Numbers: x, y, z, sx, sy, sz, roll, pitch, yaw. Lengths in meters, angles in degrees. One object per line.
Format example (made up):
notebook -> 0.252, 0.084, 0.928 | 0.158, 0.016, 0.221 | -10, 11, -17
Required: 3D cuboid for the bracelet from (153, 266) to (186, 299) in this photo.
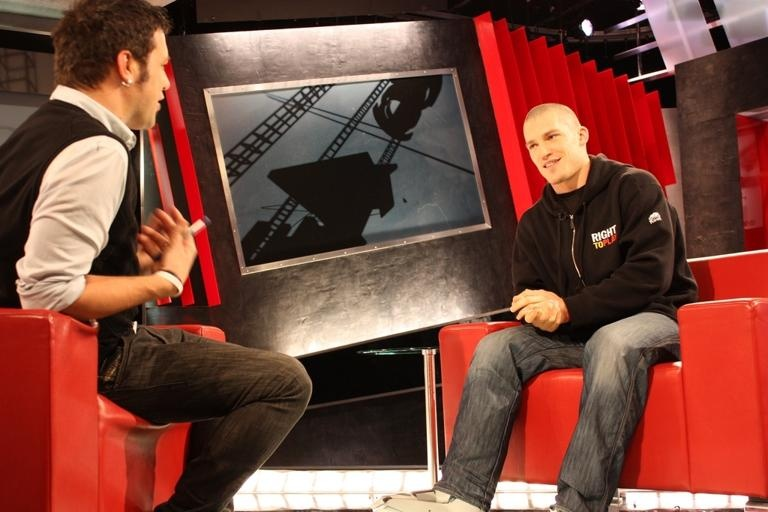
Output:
bracelet -> -0.645, 0.080, 1.839 | 0.074, 0.080, 0.030 | -16, 8, 17
